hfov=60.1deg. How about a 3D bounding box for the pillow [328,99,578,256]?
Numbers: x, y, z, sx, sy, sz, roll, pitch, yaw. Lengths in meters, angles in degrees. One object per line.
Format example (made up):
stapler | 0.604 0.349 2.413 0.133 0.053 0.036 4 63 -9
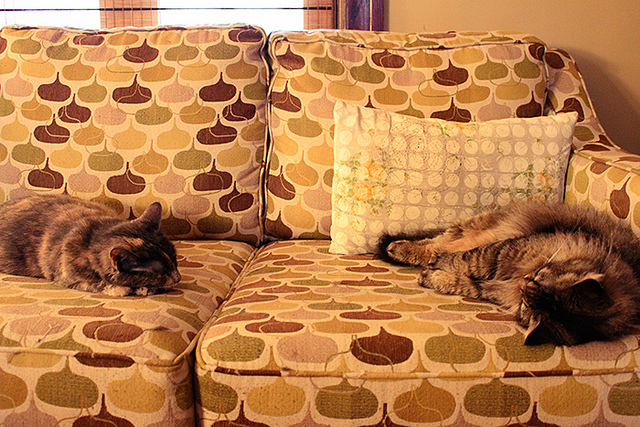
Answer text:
pillow | 0.515 -0.118 2.206 0.700 0.428 0.173 1 0 1

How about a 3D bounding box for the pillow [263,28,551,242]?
pillow | 0.359 -0.298 2.334 0.908 0.605 0.307 -1 11 -2

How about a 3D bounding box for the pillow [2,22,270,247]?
pillow | -0.809 -0.308 2.398 0.938 0.691 0.341 -1 -22 0

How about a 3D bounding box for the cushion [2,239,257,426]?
cushion | -0.677 0.392 1.776 0.555 0.231 0.578 1 25 -4

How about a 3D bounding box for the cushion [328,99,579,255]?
cushion | 0.540 -0.182 2.333 1.065 0.621 0.257 1 25 15

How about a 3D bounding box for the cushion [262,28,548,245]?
cushion | 0.384 -0.331 2.652 1.388 0.911 0.478 0 -3 7

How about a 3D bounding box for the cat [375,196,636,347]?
cat | 0.751 0.175 1.951 0.561 0.185 0.576 -5 20 4

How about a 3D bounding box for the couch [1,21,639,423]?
couch | 0.010 0.567 3.274 3.173 1.400 1.324 1 -26 6
